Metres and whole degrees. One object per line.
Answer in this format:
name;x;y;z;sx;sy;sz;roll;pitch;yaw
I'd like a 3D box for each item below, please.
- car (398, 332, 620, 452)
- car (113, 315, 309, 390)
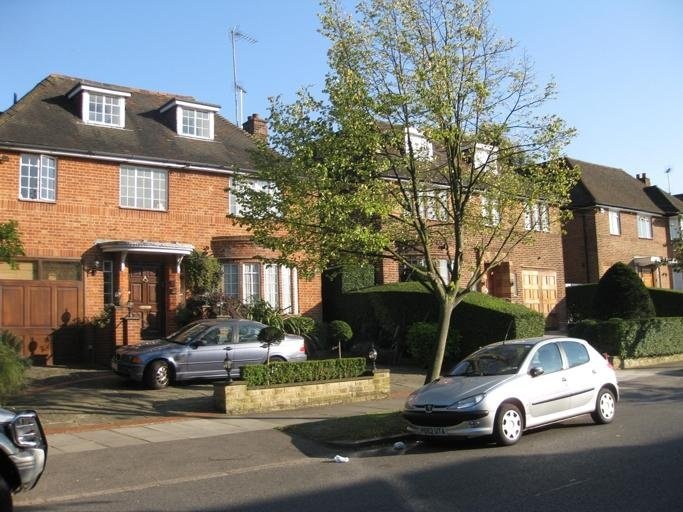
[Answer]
car;3.325;2.600;13.330;4.121;1.787;1.601;-3;3;-32
car;-3.388;2.634;18.698;5.095;1.441;2.071;4;-7;-26
